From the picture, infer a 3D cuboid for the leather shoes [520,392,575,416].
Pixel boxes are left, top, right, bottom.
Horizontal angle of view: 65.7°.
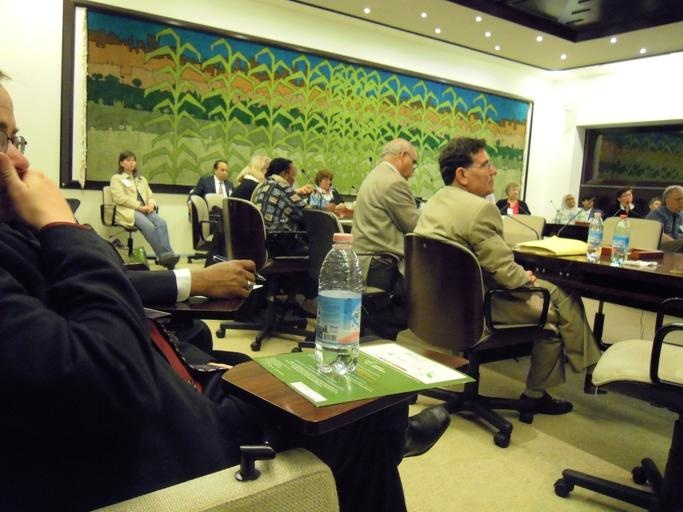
[{"bbox_3d":[1.064,0.763,2.708,0.303,0.136,0.114,-1,1,-8],"label":"leather shoes"}]
